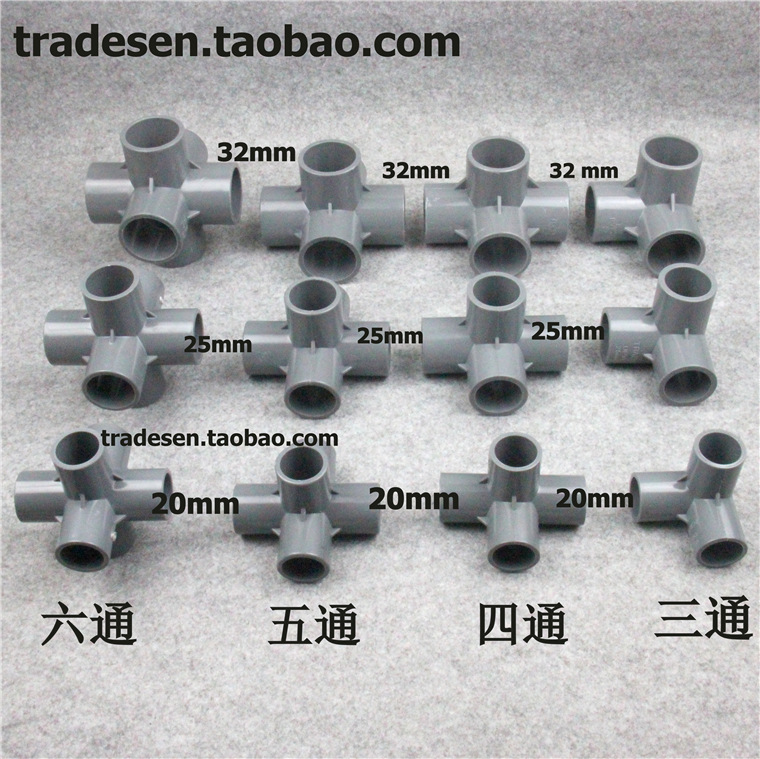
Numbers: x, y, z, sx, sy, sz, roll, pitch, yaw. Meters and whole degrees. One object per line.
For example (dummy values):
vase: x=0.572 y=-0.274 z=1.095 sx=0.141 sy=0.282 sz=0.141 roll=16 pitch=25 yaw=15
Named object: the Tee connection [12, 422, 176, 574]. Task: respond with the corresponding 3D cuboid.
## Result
Tee connection: x=-1.605 y=0.708 z=8.019 sx=0.560 sy=0.608 sz=0.538 roll=-3 pitch=29 yaw=-7
